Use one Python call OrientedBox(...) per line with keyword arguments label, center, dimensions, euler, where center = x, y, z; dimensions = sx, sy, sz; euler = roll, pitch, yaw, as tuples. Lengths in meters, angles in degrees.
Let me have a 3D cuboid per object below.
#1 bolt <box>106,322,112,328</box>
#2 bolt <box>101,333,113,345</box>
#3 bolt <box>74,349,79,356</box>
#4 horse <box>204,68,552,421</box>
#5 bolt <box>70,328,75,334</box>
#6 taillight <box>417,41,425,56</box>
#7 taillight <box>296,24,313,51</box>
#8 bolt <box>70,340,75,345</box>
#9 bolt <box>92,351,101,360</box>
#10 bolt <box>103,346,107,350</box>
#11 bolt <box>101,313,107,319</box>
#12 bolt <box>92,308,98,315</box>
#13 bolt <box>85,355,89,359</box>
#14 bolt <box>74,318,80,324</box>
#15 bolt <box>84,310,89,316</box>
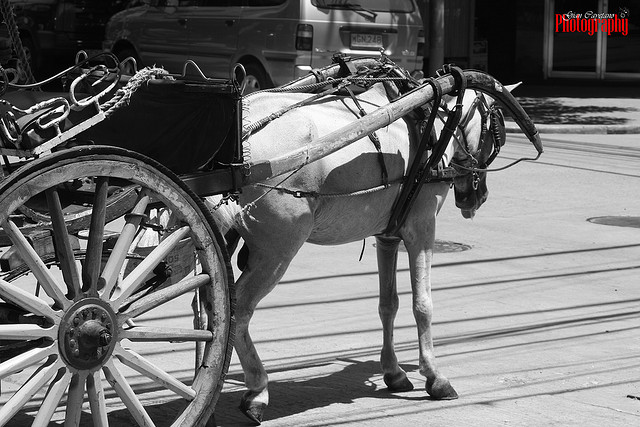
OrientedBox(label="bolt", center=(-1.187, 0.628, 5.328), dimensions=(0.012, 0.030, 0.037), euler=(10, 18, 32))
OrientedBox(label="bolt", center=(-1.189, 0.694, 5.266), dimensions=(0.051, 0.046, 0.056), euler=(5, 11, 5))
OrientedBox(label="bolt", center=(-1.343, 0.767, 5.230), dimensions=(0.028, 0.034, 0.007), euler=(-15, 21, -43))
OrientedBox(label="horse", center=(0.351, 0.151, 6.819), dimensions=(1.464, 2.332, 2.372), euler=(7, 16, 24))
OrientedBox(label="bolt", center=(-1.364, 0.645, 5.218), dimensions=(0.024, 0.028, 0.008), euler=(-4, 16, -13))
OrientedBox(label="taillight", center=(1.666, -2.730, 15.705), dimensions=(0.029, 0.243, 0.278), euler=(7, 16, 24))
OrientedBox(label="taillight", center=(-0.237, -2.656, 14.359), dimensions=(0.251, 0.389, 0.097), euler=(-1, 16, -3))
OrientedBox(label="bolt", center=(-1.364, 0.709, 5.217), dimensions=(0.025, 0.026, 0.006), euler=(-5, 16, -17))
OrientedBox(label="bolt", center=(-1.251, 0.794, 5.299), dimensions=(0.044, 0.052, 0.008), euler=(-13, 20, -39))
OrientedBox(label="bolt", center=(-1.206, 0.753, 5.319), dimensions=(0.021, 0.028, 0.026), euler=(2, 15, 8))
OrientedBox(label="bolt", center=(-1.209, 0.578, 5.312), dimensions=(0.035, 0.030, 0.005), euler=(-13, 20, -40))
OrientedBox(label="bolt", center=(-1.252, 0.548, 5.281), dimensions=(0.032, 0.030, 0.010), euler=(-14, 21, -42))
OrientedBox(label="bolt", center=(-1.296, 0.798, 5.272), dimensions=(0.023, 0.023, 0.003), euler=(-10, 18, -31))
OrientedBox(label="bolt", center=(-1.343, 0.590, 5.224), dimensions=(0.039, 0.032, 0.008), euler=(1, 3, -21))
OrientedBox(label="bolt", center=(-1.296, 0.552, 5.249), dimensions=(0.040, 0.034, 0.009), euler=(2, 1, -17))
